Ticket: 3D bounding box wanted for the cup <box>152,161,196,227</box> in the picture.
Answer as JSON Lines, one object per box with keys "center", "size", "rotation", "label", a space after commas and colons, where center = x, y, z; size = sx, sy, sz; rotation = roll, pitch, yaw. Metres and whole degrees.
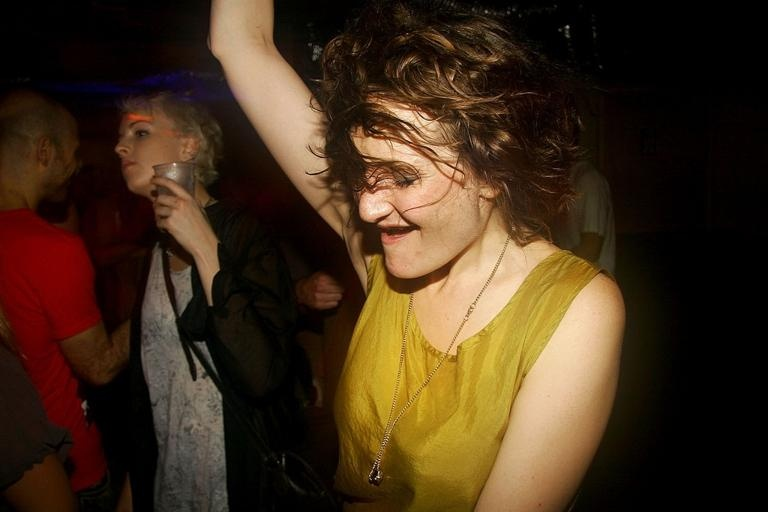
{"center": [-1.234, -0.441, 4.078], "size": [0.209, 0.238, 0.224], "rotation": [1, 2, 0], "label": "cup"}
